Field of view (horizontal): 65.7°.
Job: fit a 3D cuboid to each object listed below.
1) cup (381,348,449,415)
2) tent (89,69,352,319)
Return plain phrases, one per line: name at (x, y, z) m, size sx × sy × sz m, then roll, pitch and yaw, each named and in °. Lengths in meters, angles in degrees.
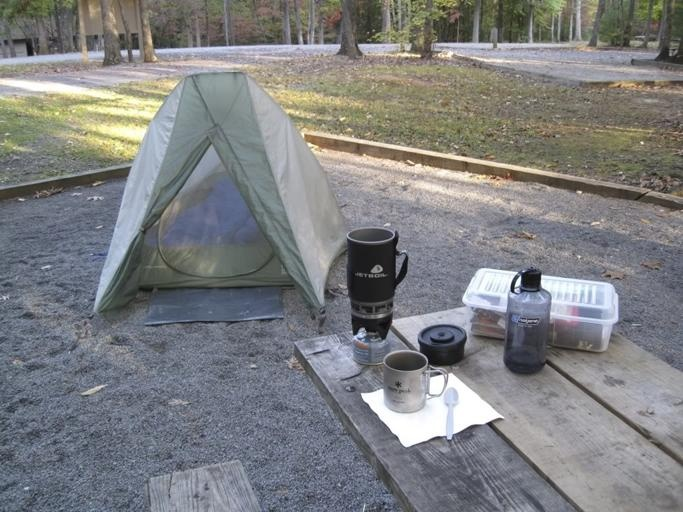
cup at (0.242, 0.452, 1.930) m, size 0.255 × 0.171 × 0.159 m, roll -2°, pitch 17°, yaw -5°
tent at (-1.001, -0.760, 5.146) m, size 2.002 × 1.882 × 2.378 m, roll 1°, pitch 42°, yaw -4°
